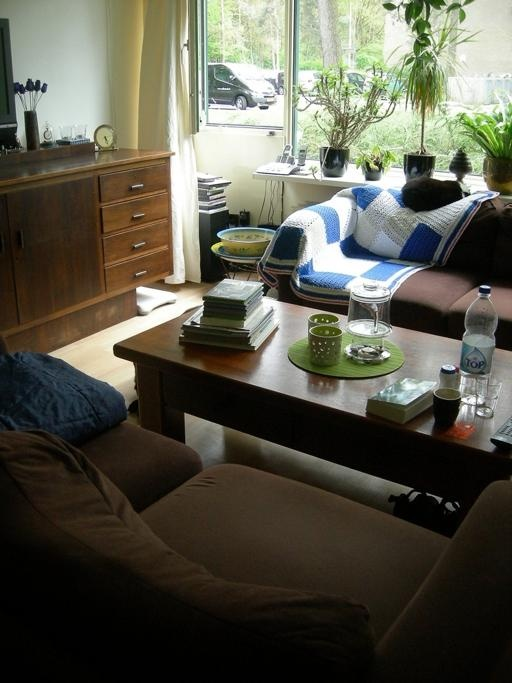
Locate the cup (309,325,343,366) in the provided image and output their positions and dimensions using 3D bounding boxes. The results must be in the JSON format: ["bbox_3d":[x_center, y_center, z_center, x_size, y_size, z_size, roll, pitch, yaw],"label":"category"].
[{"bbox_3d":[0.206,0.016,1.681,0.107,0.110,0.119,2,23,7],"label":"cup"}]

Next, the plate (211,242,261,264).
[{"bbox_3d":[-0.146,-0.515,3.154,0.149,0.092,0.355,7,7,-40],"label":"plate"}]

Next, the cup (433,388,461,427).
[{"bbox_3d":[0.457,0.161,1.329,0.064,0.082,0.096,1,5,5],"label":"cup"}]

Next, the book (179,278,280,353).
[{"bbox_3d":[-0.086,-0.067,1.820,0.258,0.115,0.255,7,25,17],"label":"book"}]

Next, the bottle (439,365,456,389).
[{"bbox_3d":[0.493,0.091,1.419,0.041,0.062,0.042,-5,31,3],"label":"bottle"}]

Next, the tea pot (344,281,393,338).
[{"bbox_3d":[0.361,-0.110,1.810,0.151,0.171,0.176,0,21,4],"label":"tea pot"}]

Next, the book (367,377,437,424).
[{"bbox_3d":[0.378,0.133,1.400,0.099,0.041,0.143,15,26,38],"label":"book"}]

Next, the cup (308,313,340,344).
[{"bbox_3d":[0.214,-0.046,1.761,0.079,0.056,0.078,0,14,0],"label":"cup"}]

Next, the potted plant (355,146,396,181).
[{"bbox_3d":[0.711,-1.096,3.317,0.204,0.167,0.228,9,32,20],"label":"potted plant"}]

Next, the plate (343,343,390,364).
[{"bbox_3d":[0.336,0.036,1.687,0.081,0.021,0.081,8,26,19],"label":"plate"}]

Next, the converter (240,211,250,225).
[{"bbox_3d":[-0.088,-0.921,4.085,0.089,0.090,0.050,11,5,-7],"label":"converter"}]
